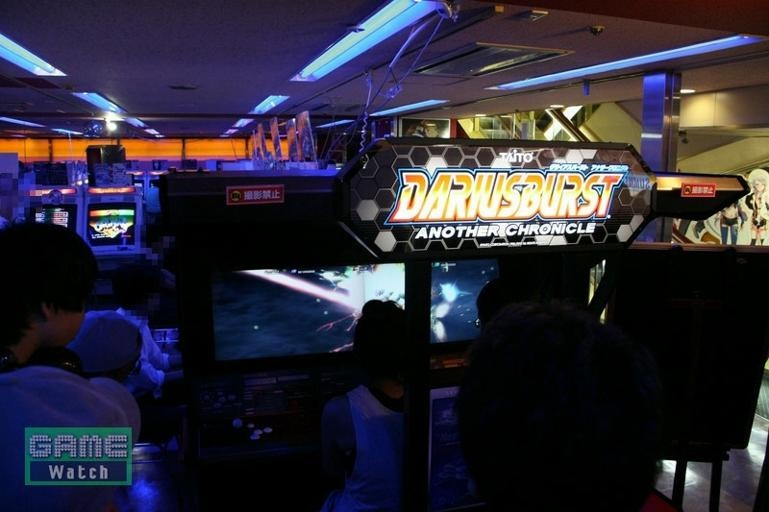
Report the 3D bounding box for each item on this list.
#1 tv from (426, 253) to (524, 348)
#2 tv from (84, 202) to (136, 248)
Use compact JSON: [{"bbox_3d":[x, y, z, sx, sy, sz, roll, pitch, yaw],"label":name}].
[{"bbox_3d":[0.482,0.266,3.478,0.577,0.532,0.016,-2,5,-28],"label":"tv"},{"bbox_3d":[-2.965,-0.332,6.090,0.531,0.482,0.069,-1,0,-11],"label":"tv"}]
